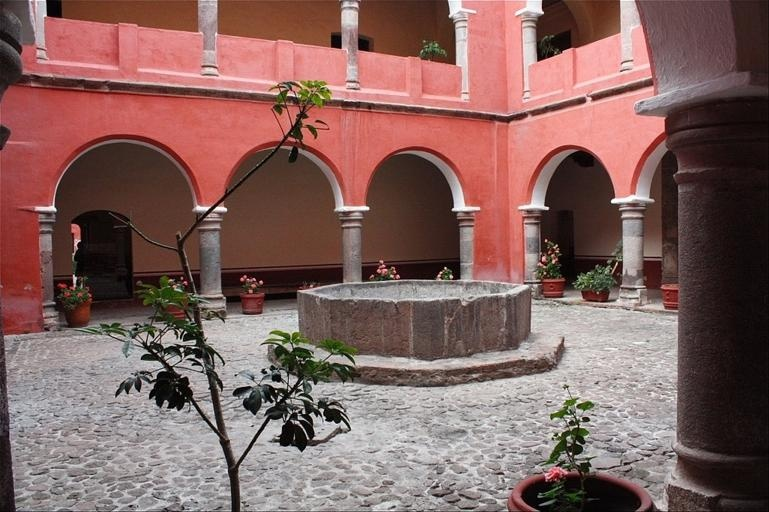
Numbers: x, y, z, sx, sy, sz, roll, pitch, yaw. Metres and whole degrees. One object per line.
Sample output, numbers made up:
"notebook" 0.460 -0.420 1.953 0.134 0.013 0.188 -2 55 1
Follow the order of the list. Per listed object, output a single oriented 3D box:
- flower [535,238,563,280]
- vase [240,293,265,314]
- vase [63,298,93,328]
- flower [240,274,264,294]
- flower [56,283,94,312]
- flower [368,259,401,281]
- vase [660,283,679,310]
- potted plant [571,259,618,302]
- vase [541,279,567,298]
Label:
"flower" 4.363 0.056 13.740 0.620 1.044 1.185 -2 0 16
"vase" -3.002 1.050 11.890 0.523 0.347 0.497 0 -3 -1
"vase" -6.058 1.097 10.210 0.665 0.493 0.609 0 -1 -8
"flower" -3.404 0.692 13.218 0.517 0.339 0.443 1 -8 32
"flower" -6.470 0.849 10.767 0.782 0.522 0.779 5 -2 -35
"flower" -0.012 0.413 12.795 0.770 0.601 0.673 -1 -2 3
"vase" 5.972 0.810 10.789 0.228 0.535 0.568 -2 0 19
"potted plant" 5.047 0.619 12.308 0.880 0.936 0.598 -2 0 6
"vase" 4.355 0.787 13.340 0.561 0.352 0.514 0 -3 -5
